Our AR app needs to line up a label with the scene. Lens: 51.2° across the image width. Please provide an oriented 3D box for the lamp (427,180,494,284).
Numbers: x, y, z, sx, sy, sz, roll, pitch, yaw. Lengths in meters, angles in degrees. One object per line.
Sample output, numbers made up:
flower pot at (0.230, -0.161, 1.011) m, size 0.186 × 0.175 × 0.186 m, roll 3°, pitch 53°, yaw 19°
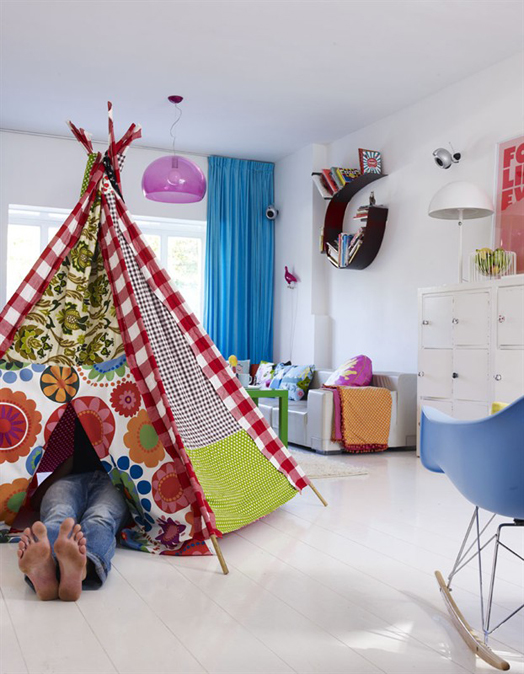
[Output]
lamp at (1.379, -0.694, 3.756) m, size 0.413 × 0.631 × 0.579 m, roll -5°, pitch -8°, yaw 41°
